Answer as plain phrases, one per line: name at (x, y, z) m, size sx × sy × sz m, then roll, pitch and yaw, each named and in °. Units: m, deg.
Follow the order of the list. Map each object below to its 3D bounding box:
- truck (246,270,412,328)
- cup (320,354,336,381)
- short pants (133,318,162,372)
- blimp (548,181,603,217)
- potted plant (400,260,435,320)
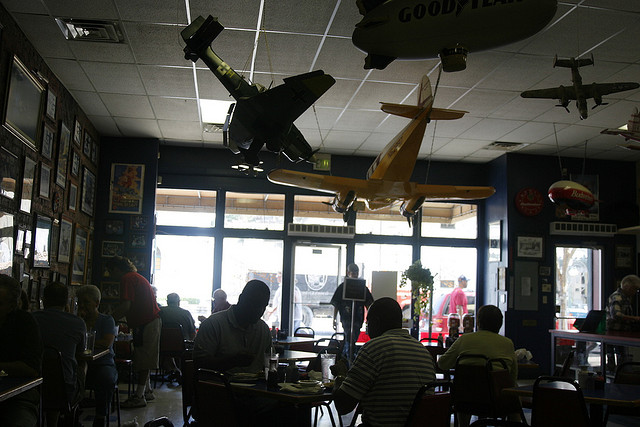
truck at (-0.157, 1.694, 11.283) m, size 4.599 × 1.499 × 1.306 m, roll 1°, pitch -6°, yaw -8°
cup at (0.091, 1.507, 5.236) m, size 0.175 × 0.272 × 0.182 m, roll 0°, pitch -10°, yaw 0°
short pants at (-2.466, 1.916, 7.829) m, size 0.267 × 0.742 × 0.438 m, roll -3°, pitch -11°, yaw 27°
blimp at (4.120, -0.229, 8.720) m, size 0.945 × 0.581 × 0.465 m, roll 15°, pitch -8°, yaw -13°
potted plant at (1.704, 1.331, 9.375) m, size 0.696 × 0.931 × 0.436 m, roll 9°, pitch -2°, yaw 9°
